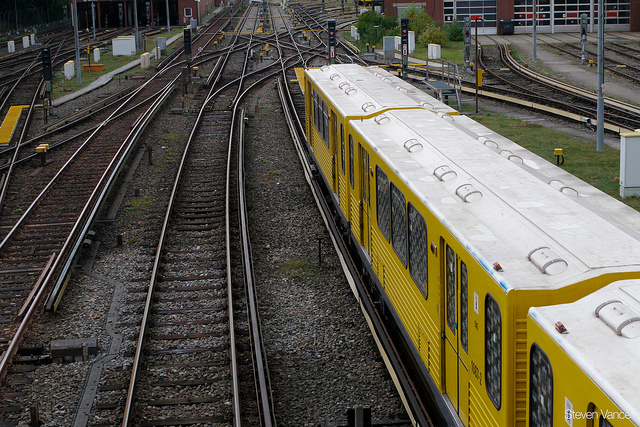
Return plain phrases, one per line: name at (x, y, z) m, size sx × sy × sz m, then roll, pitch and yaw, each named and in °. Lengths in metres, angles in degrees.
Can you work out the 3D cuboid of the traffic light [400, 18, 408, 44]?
traffic light at (4.805, -10.322, 33.235) m, size 0.328 × 1.386 × 0.767 m, roll 3°, pitch 22°, yaw 15°
